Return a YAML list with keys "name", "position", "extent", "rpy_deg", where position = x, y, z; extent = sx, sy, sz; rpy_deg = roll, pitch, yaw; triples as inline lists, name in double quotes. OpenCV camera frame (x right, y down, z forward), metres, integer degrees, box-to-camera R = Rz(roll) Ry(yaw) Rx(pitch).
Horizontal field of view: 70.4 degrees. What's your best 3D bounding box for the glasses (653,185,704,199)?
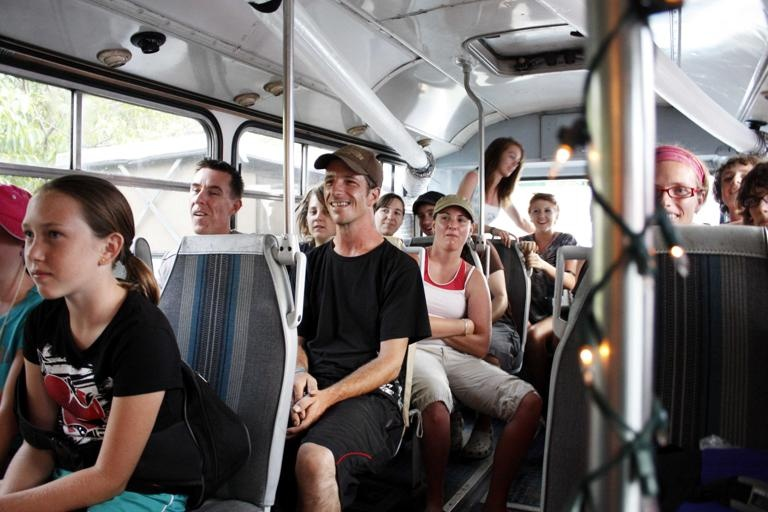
- name: "glasses"
  position: [1.287, -0.267, 2.342]
  extent: [0.219, 0.062, 0.086]
  rpy_deg: [1, -1, -22]
